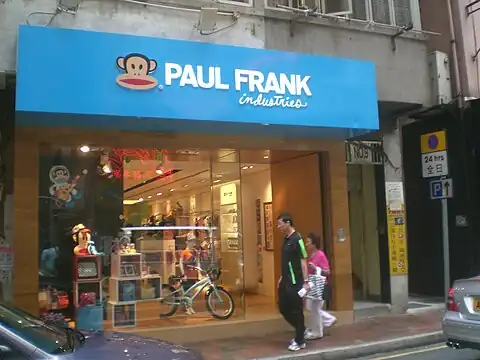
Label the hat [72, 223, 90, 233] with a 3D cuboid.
[{"bbox_3d":[-2.994,0.905,9.724,0.235,0.112,0.147,-13,-6,-11],"label":"hat"}]

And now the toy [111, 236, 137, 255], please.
[{"bbox_3d":[-2.237,1.282,10.032,0.547,0.490,0.291,4,-11,-27],"label":"toy"}]

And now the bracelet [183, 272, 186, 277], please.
[{"bbox_3d":[-1.103,1.897,10.308,0.071,0.063,0.070,-1,-5,4],"label":"bracelet"}]

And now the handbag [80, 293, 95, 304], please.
[{"bbox_3d":[-2.840,2.226,9.741,0.241,0.222,0.221,1,-1,-12],"label":"handbag"}]

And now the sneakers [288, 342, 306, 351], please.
[{"bbox_3d":[1.010,2.967,9.228,0.277,0.114,0.121,7,-12,-18],"label":"sneakers"}]

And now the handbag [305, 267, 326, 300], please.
[{"bbox_3d":[1.531,1.962,9.952,0.498,0.661,0.508,1,-4,13],"label":"handbag"}]

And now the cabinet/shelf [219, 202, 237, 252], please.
[{"bbox_3d":[-0.186,1.016,10.642,0.383,0.992,0.251,-3,-2,13],"label":"cabinet/shelf"}]

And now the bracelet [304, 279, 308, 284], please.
[{"bbox_3d":[1.165,1.798,9.200,0.071,0.062,0.070,1,-3,-5],"label":"bracelet"}]

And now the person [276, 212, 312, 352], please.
[{"bbox_3d":[0.951,1.822,9.312,0.532,2.423,0.459,-1,2,-1],"label":"person"}]

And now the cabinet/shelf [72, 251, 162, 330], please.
[{"bbox_3d":[-2.394,2.127,9.814,1.513,1.307,0.495,1,-4,-21],"label":"cabinet/shelf"}]

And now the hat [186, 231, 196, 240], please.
[{"bbox_3d":[-0.979,1.114,10.406,0.122,0.130,0.161,-4,6,-19],"label":"hat"}]

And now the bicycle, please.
[{"bbox_3d":[-0.900,2.322,10.609,1.440,0.863,0.854,0,-7,-11],"label":"bicycle"}]
